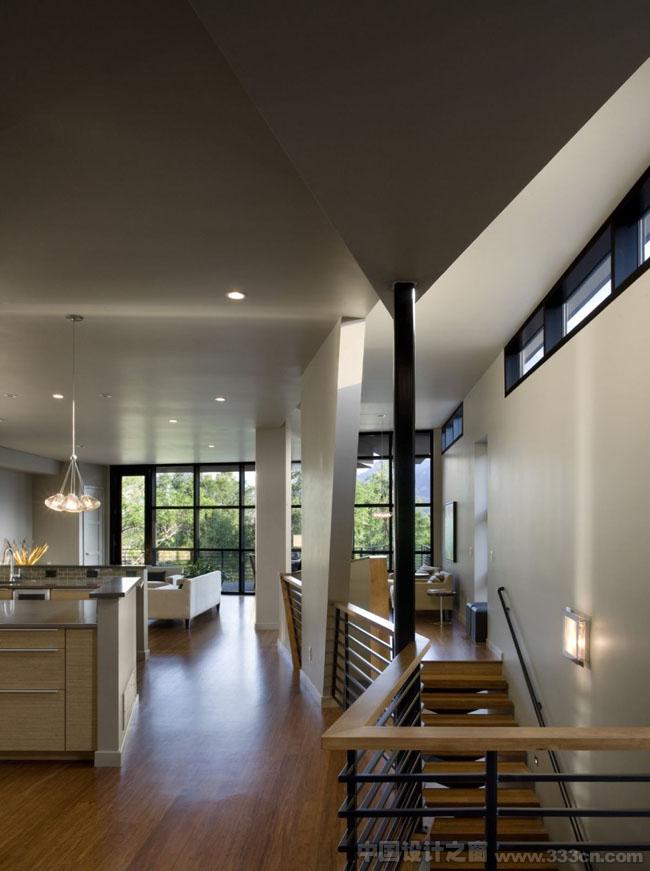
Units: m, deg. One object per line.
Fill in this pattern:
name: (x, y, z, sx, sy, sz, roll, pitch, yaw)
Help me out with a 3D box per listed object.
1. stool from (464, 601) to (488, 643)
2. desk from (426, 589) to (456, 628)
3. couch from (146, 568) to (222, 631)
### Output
stool: (1.953, 2.413, 8.252, 0.223, 0.439, 0.575, -1, -9, 12)
desk: (1.772, 2.603, 9.802, 0.433, 0.510, 1.254, -1, -9, 12)
couch: (-2.241, 2.572, 10.182, 1.052, 0.722, 2.650, 2, -9, -9)
